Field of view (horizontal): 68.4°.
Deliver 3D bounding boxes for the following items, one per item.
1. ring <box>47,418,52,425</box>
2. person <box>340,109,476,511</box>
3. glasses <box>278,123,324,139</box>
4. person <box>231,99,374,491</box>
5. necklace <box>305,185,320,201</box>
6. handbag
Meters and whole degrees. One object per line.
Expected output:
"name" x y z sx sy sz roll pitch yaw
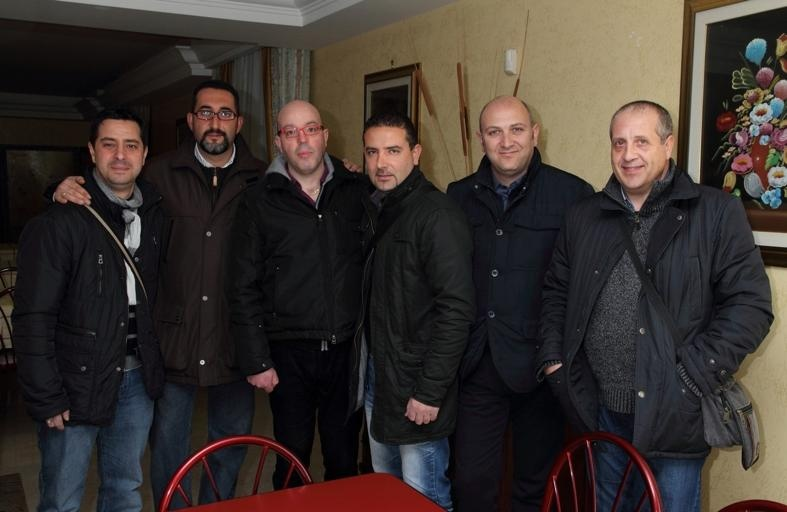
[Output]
"ring" -1.555 0.752 2.626 0.032 0.029 0.008 3 9 -5
"person" 0.100 0.093 2.785 0.417 1.576 0.538 -7 8 -39
"glasses" -0.483 -0.653 3.042 0.234 0.081 0.112 -3 6 -13
"person" -0.429 0.394 3.269 0.935 2.389 0.577 -5 13 -21
"necklace" -0.428 -0.331 3.103 0.065 0.032 0.087 -8 29 10
"handbag" 1.381 0.699 2.373 0.196 0.351 0.111 -4 6 -13
